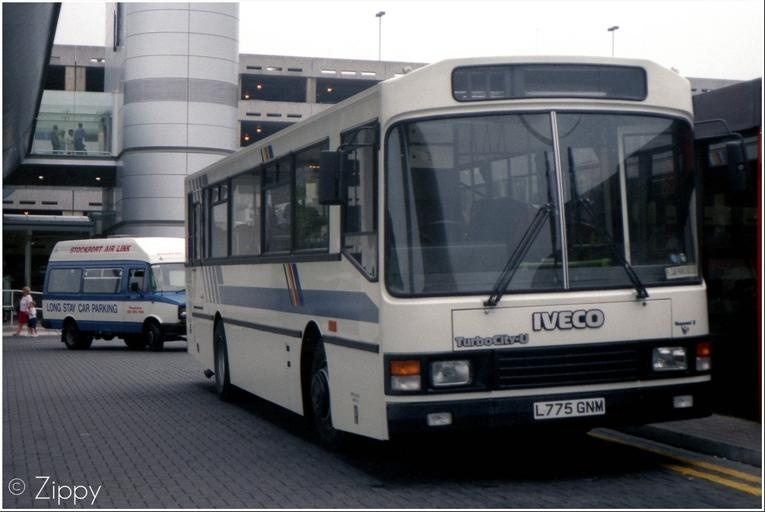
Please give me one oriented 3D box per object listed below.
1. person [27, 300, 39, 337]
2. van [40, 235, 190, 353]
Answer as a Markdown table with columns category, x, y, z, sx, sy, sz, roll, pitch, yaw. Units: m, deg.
| category | x | y | z | sx | sy | sz | roll | pitch | yaw |
| --- | --- | --- | --- | --- | --- | --- | --- | --- | --- |
| person | -15.017 | 2.622 | 32.012 | 0.267 | 1.283 | 0.723 | -2 | 0 | -19 |
| van | -8.445 | 1.193 | 25.344 | 3.497 | 3.506 | 6.195 | 2 | -4 | -41 |
